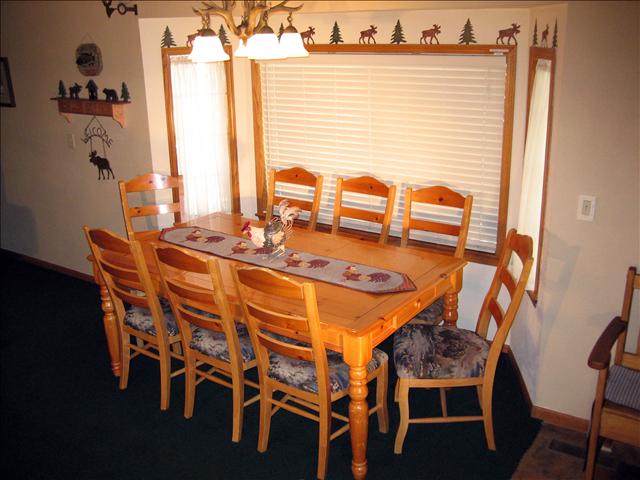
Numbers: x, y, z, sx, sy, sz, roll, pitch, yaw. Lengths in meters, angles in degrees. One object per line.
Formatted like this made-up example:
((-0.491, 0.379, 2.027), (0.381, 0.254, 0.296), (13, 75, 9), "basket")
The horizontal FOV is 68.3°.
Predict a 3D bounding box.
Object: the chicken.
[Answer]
((-0.309, -0.089, 3.253), (0.318, 0.416, 0.316), (17, 25, 38), "chicken")
